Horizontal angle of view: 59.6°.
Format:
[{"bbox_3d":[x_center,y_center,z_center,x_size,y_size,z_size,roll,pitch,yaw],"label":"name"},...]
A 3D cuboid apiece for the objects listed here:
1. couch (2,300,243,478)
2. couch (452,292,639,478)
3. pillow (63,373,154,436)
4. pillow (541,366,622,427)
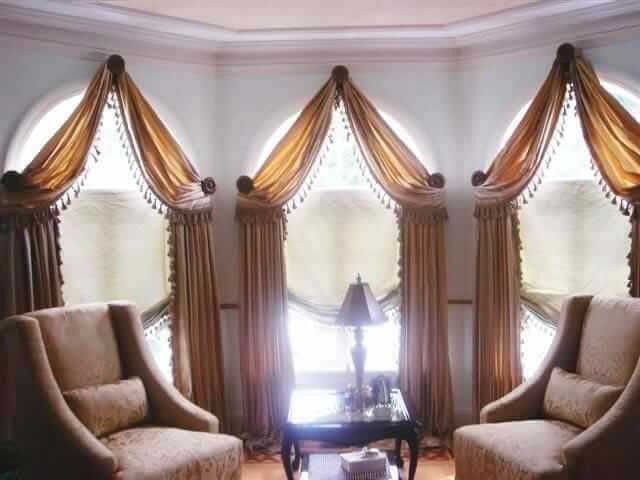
[{"bbox_3d":[-1.312,1.021,4.013,1.431,1.652,1.116,-9,-12,37],"label":"couch"},{"bbox_3d":[1.544,1.063,4.092,1.231,1.552,1.061,5,-10,-19],"label":"couch"},{"bbox_3d":[-1.421,1.103,3.712,0.107,0.231,0.347,-28,-21,30],"label":"pillow"},{"bbox_3d":[1.763,1.062,3.735,0.118,0.264,0.340,9,-3,-28],"label":"pillow"}]
